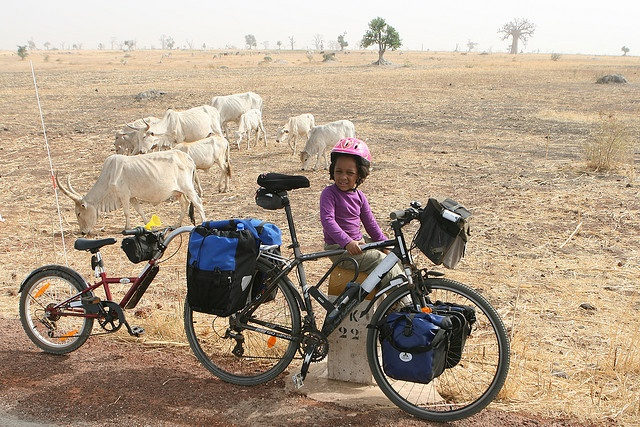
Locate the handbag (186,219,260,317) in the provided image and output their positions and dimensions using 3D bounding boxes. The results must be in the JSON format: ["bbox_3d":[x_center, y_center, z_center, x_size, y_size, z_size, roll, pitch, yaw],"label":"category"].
[{"bbox_3d":[-1.125,0.637,6.793,1.084,1.179,0.643,8,6,25],"label":"handbag"}]

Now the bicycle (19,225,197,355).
[{"bbox_3d":[-2.972,1.021,8.085,2.610,1.482,1.532,-2,3,9],"label":"bicycle"}]

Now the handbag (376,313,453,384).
[{"bbox_3d":[1.093,1.525,6.661,0.861,0.750,0.526,0,-1,31],"label":"handbag"}]

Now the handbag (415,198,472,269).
[{"bbox_3d":[1.379,0.223,6.522,0.592,0.767,0.345,4,19,10],"label":"handbag"}]

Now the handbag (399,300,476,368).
[{"bbox_3d":[1.385,1.376,6.810,0.826,0.714,0.641,5,5,17],"label":"handbag"}]

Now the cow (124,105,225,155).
[{"bbox_3d":[-4.802,-2.812,18.978,3.960,1.944,1.267,-12,11,-39],"label":"cow"}]
